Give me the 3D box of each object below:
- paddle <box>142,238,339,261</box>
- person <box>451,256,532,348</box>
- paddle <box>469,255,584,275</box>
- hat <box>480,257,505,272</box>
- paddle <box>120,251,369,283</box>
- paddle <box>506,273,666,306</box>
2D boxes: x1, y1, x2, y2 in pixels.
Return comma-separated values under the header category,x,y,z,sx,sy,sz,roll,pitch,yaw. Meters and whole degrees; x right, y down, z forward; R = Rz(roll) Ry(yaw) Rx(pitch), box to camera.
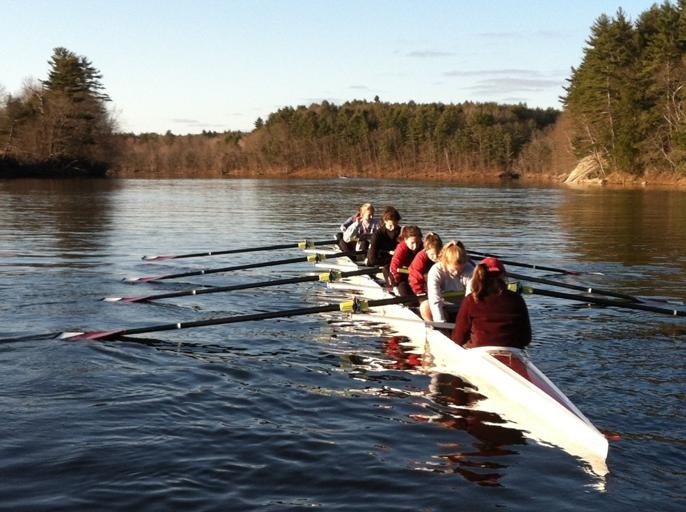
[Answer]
category,x,y,z,sx,sy,sz,roll,pitch,yaw
paddle,-2.833,-0.159,19.311,4.724,0.334,0.276,-4,-25,-6
person,1.862,0.585,8.877,0.725,1.131,0.605,-3,7,-14
paddle,3.903,0.196,14.975,2.851,0.410,0.251,6,-6,-22
hat,1.798,0.103,8.627,0.249,0.159,0.296,1,6,17
paddle,-2.274,0.272,16.358,4.914,0.344,0.327,-5,-15,-11
paddle,4.607,0.642,13.506,4.036,0.062,0.261,6,0,-13
